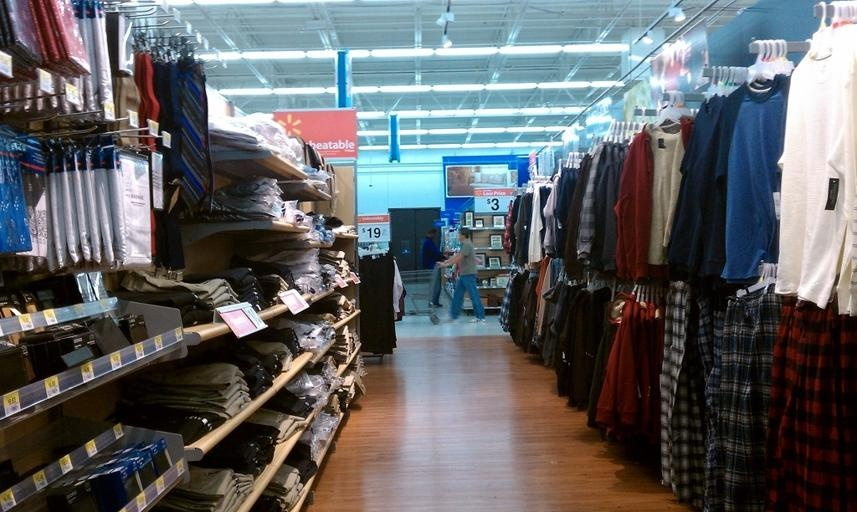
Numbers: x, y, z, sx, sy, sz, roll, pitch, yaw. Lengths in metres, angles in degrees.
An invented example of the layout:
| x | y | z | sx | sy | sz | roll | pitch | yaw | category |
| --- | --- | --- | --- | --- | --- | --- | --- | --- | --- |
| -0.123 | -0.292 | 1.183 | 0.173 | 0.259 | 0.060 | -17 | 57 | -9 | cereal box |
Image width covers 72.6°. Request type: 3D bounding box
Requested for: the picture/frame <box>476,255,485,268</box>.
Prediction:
| x | y | z | sx | sy | sz | roll | pitch | yaw | category |
| --- | --- | --- | --- | --- | --- | --- | --- | --- | --- |
| 1.074 | 0.116 | 12.150 | 0.306 | 0.272 | 0.023 | -1 | -6 | -37 | picture/frame |

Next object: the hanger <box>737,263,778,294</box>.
| x | y | z | sx | sy | sz | roll | pitch | yaw | category |
| --- | --- | --- | --- | --- | --- | --- | --- | --- | --- |
| 1.903 | 0.130 | 3.364 | 0.167 | 0.152 | 0.071 | 24 | -11 | -35 | hanger |

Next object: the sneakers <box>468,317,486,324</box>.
| x | y | z | sx | sy | sz | roll | pitch | yaw | category |
| --- | --- | --- | --- | --- | --- | --- | --- | --- | --- |
| 0.920 | 1.223 | 11.044 | 0.302 | 0.113 | 0.103 | 1 | -3 | 14 | sneakers |

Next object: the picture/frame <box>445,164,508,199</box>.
| x | y | z | sx | sy | sz | roll | pitch | yaw | category |
| --- | --- | --- | --- | --- | --- | --- | --- | --- | --- |
| 1.224 | -1.912 | 14.438 | 1.825 | 0.877 | 0.055 | -3 | 7 | -20 | picture/frame |

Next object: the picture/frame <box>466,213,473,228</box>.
| x | y | z | sx | sy | sz | roll | pitch | yaw | category |
| --- | --- | --- | --- | --- | --- | --- | --- | --- | --- |
| 0.842 | -0.751 | 12.205 | 0.191 | 0.351 | 0.329 | -3 | 7 | -6 | picture/frame |

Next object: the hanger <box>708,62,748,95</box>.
| x | y | z | sx | sy | sz | roll | pitch | yaw | category |
| --- | --- | --- | --- | --- | --- | --- | --- | --- | --- |
| 1.914 | -1.130 | 3.748 | 0.219 | 0.228 | 0.418 | 2 | 8 | 30 | hanger |

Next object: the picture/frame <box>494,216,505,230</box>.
| x | y | z | sx | sy | sz | roll | pitch | yaw | category |
| --- | --- | --- | --- | --- | --- | --- | --- | --- | --- |
| 1.463 | -0.706 | 12.191 | 0.234 | 0.295 | 0.111 | -2 | 8 | 4 | picture/frame |

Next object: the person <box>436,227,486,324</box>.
| x | y | z | sx | sy | sz | roll | pitch | yaw | category |
| --- | --- | --- | --- | --- | --- | --- | --- | --- | --- |
| 0.634 | 0.384 | 10.832 | 0.716 | 1.760 | 1.390 | -2 | 7 | 4 | person |

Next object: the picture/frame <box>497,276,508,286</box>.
| x | y | z | sx | sy | sz | roll | pitch | yaw | category |
| --- | --- | --- | --- | --- | --- | --- | --- | --- | --- |
| 1.543 | 0.539 | 12.228 | 0.227 | 0.240 | 0.139 | -3 | 8 | -10 | picture/frame |

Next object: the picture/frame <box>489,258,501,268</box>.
| x | y | z | sx | sy | sz | roll | pitch | yaw | category |
| --- | --- | --- | --- | --- | --- | --- | --- | --- | --- |
| 1.388 | 0.154 | 12.232 | 0.237 | 0.208 | 0.022 | 0 | -6 | 0 | picture/frame |

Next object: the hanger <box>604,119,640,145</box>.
| x | y | z | sx | sy | sz | roll | pitch | yaw | category |
| --- | --- | --- | --- | --- | --- | --- | --- | --- | --- |
| 1.645 | -1.055 | 4.950 | 0.270 | 0.120 | 0.350 | 2 | 19 | 11 | hanger |

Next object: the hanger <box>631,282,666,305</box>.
| x | y | z | sx | sy | sz | roll | pitch | yaw | category |
| --- | --- | --- | --- | --- | --- | --- | --- | --- | --- |
| 1.594 | 0.263 | 4.214 | 0.222 | 0.158 | 0.042 | 1 | 8 | 24 | hanger |

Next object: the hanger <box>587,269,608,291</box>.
| x | y | z | sx | sy | sz | roll | pitch | yaw | category |
| --- | --- | --- | --- | --- | --- | --- | --- | --- | --- |
| 1.482 | 0.212 | 5.201 | 0.173 | 0.216 | 0.241 | -3 | -9 | 11 | hanger |

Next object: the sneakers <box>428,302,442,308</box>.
| x | y | z | sx | sy | sz | roll | pitch | yaw | category |
| --- | --- | --- | --- | --- | --- | --- | --- | --- | --- |
| 0.114 | 0.985 | 11.506 | 0.093 | 0.111 | 0.298 | -13 | -8 | -39 | sneakers |

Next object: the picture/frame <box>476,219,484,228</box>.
| x | y | z | sx | sy | sz | roll | pitch | yaw | category |
| --- | --- | --- | --- | --- | --- | --- | --- | --- | --- |
| 1.065 | -0.681 | 12.232 | 0.201 | 0.207 | 0.015 | 2 | -19 | -1 | picture/frame |

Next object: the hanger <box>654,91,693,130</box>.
| x | y | z | sx | sy | sz | roll | pitch | yaw | category |
| --- | --- | --- | --- | --- | --- | --- | --- | --- | --- |
| 1.706 | -1.016 | 4.046 | 0.225 | 0.109 | 0.278 | 0 | 6 | 13 | hanger |

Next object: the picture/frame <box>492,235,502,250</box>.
| x | y | z | sx | sy | sz | roll | pitch | yaw | category |
| --- | --- | --- | --- | --- | --- | --- | --- | --- | --- |
| 1.436 | -0.294 | 12.212 | 0.326 | 0.333 | 0.026 | 0 | 2 | 3 | picture/frame |

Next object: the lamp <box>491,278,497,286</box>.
| x | y | z | sx | sy | sz | roll | pitch | yaw | category |
| --- | --- | --- | --- | --- | --- | --- | --- | --- | --- |
| 1.365 | 0.548 | 12.269 | 0.159 | 0.176 | 0.076 | -2 | 8 | 6 | lamp |
